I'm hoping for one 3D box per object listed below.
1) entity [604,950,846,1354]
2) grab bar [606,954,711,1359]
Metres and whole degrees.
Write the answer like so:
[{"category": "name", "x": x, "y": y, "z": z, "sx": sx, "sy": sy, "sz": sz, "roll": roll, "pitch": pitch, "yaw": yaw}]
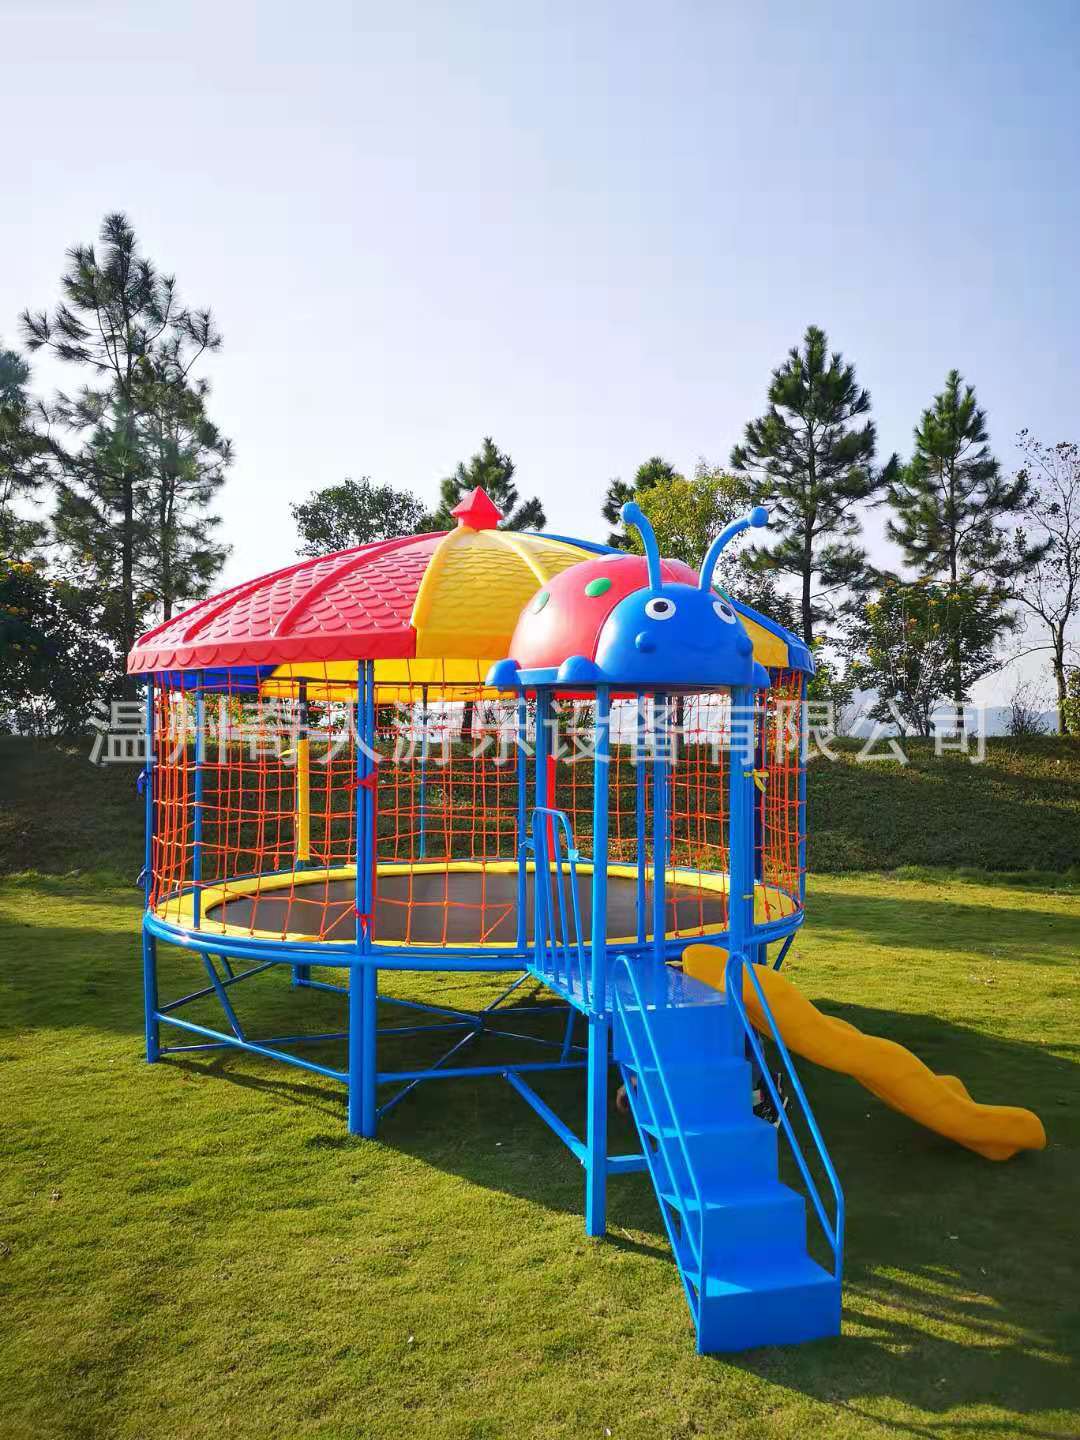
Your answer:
[{"category": "entity", "x": 0.820, "y": 1.880, "z": 5.973, "sx": 0.725, "sy": 1.342, "sz": 1.459, "roll": -1, "pitch": 4, "yaw": -13}, {"category": "grab bar", "x": 0.615, "y": 1.849, "z": 6.078, "sx": 0.322, "sy": 1.870, "sz": 0.434, "roll": 20, "pitch": -47, "yaw": -30}]
